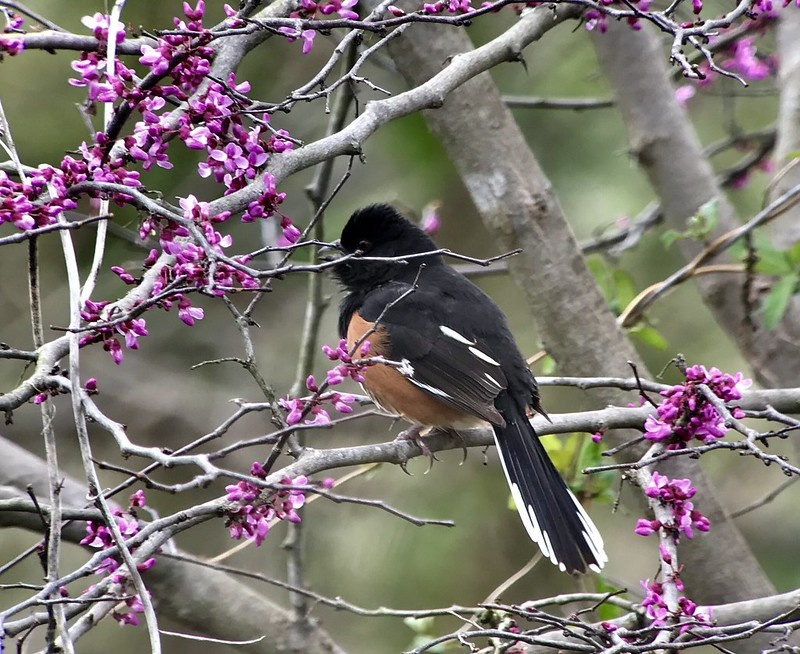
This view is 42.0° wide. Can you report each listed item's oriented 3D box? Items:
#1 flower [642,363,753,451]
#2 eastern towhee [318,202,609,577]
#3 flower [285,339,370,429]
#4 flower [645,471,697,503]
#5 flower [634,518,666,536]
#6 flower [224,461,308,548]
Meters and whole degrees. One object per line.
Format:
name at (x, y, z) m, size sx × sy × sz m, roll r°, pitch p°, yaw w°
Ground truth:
flower at (0.997, 0.272, 3.656) m, size 0.299 × 0.583 × 0.299 m, roll -5°, pitch -91°, yaw 34°
eastern towhee at (0.320, 0.163, 4.700) m, size 1.145 × 1.732 × 1.757 m, roll 0°, pitch -84°, yaw 30°
flower at (-0.239, 0.235, 3.551) m, size 0.358 × 0.254 × 0.325 m, roll 3°, pitch -75°, yaw 22°
flower at (0.900, 0.537, 3.502) m, size 0.105 × 0.135 × 0.064 m, roll -2°, pitch -83°, yaw -9°
flower at (0.858, 0.664, 3.493) m, size 0.071 × 0.097 × 0.046 m, roll -6°, pitch -83°, yaw 41°
flower at (-0.433, 0.568, 3.320) m, size 0.226 × 0.289 × 0.298 m, roll 0°, pitch -88°, yaw 1°
